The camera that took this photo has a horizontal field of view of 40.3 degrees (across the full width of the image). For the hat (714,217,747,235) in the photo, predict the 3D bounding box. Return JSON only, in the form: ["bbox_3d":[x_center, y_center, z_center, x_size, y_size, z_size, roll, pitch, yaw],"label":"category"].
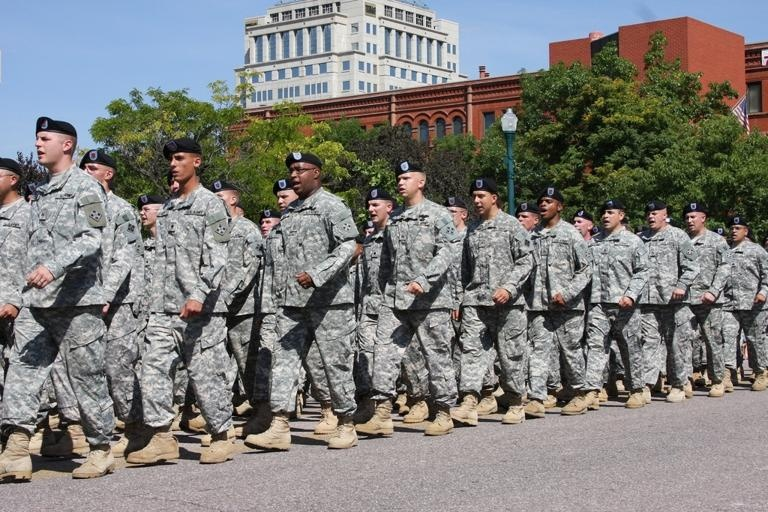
[{"bbox_3d":[6.547,-0.595,19.503,0.463,0.201,0.574,-2,-3,27],"label":"hat"}]

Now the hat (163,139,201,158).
[{"bbox_3d":[-2.240,-1.223,11.817,0.342,0.109,0.272,1,-3,-26],"label":"hat"}]

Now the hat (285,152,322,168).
[{"bbox_3d":[-0.931,-1.184,12.571,0.315,0.097,0.236,9,-8,-40],"label":"hat"}]

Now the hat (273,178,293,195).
[{"bbox_3d":[-1.465,-1.022,15.118,0.327,0.146,0.393,-4,-22,0],"label":"hat"}]

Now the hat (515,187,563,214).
[{"bbox_3d":[2.371,-0.832,15.846,0.594,0.254,0.443,-7,-9,-1],"label":"hat"}]
